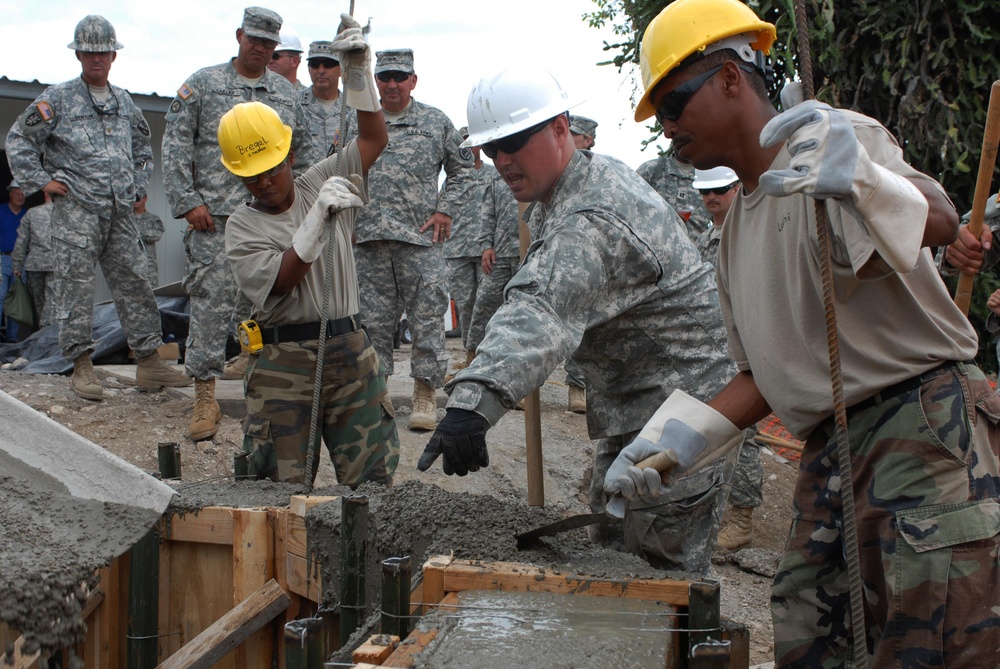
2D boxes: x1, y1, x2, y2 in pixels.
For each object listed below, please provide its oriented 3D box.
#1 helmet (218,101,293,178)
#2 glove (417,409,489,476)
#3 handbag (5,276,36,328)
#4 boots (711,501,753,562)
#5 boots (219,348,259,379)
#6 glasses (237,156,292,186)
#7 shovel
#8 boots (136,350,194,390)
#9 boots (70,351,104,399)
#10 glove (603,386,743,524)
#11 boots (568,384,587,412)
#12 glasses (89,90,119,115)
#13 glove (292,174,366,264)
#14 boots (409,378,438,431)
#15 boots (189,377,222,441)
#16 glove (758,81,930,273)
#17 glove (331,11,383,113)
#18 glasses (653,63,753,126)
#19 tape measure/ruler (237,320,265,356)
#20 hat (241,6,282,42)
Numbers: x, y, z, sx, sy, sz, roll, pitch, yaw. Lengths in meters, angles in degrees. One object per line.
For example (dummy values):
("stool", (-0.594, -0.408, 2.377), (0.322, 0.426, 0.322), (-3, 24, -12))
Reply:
("helmet", (-1.409, -1.082, 5.916), (0.361, 0.263, 0.474), (-24, 33, -2))
("glove", (-0.156, 0.407, 3.969), (0.205, 0.296, 0.139), (10, 8, -5))
("handbag", (-5.366, -0.362, 11.514), (0.308, 0.555, 0.171), (-1, 4, -34))
("boots", (1.586, 1.301, 7.054), (0.354, 0.349, 0.155), (-8, 5, -26))
("boots", (-2.485, 0.296, 9.659), (0.199, 0.257, 0.480), (0, 4, -22))
("glasses", (-1.317, -0.916, 5.805), (0.289, 0.182, 0.190), (1, 3, -15))
("shovel", (0.389, 0.720, 4.173), (0.539, 0.141, 0.117), (-26, 3, 4))
("boots", (-2.800, 0.303, 8.544), (0.399, 0.327, 0.351), (0, 4, -25))
("boots", (-3.269, 0.328, 8.157), (0.232, 0.355, 0.304), (0, 4, -23))
("glove", (0.652, 0.489, 4.220), (0.560, 0.445, 0.210), (-37, -4, -18))
("boots", (0.712, 0.586, 9.379), (0.194, 0.280, 0.194), (3, -5, -21))
("glasses", (-3.125, -1.817, 8.080), (0.143, 0.184, 0.103), (-30, 1, -36))
("glove", (-0.917, -0.604, 5.638), (0.189, 0.470, 0.374), (8, 33, -47))
("boots", (-0.604, 0.512, 8.001), (0.194, 0.378, 0.547), (1, 10, -2))
("boots", (-2.206, 0.548, 7.662), (0.214, 0.445, 0.332), (1, 3, -16))
("glove", (1.202, -0.516, 3.681), (0.590, 0.602, 0.296), (23, -16, 3))
("glove", (-0.800, -1.501, 5.755), (0.264, 0.515, 0.646), (1, 3, -7))
("glasses", (0.785, -0.929, 4.020), (0.287, 0.079, 0.224), (-36, 1, 12))
("tape measure/ruler", (-1.409, 0.008, 5.837), (0.071, 0.186, 0.182), (-6, 24, -22))
("hat", (-1.730, -2.230, 7.451), (0.266, 0.205, 0.242), (1, 3, -15))
